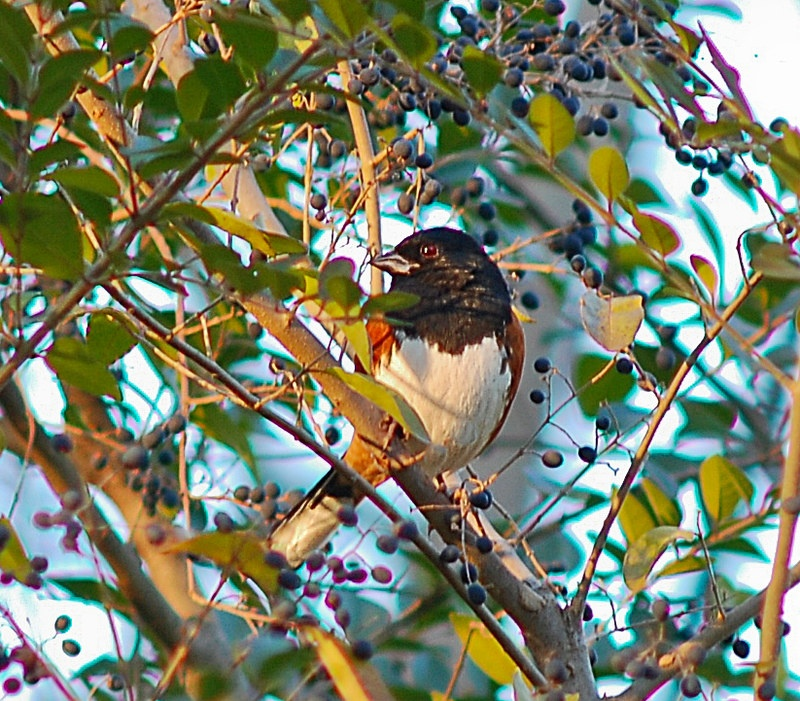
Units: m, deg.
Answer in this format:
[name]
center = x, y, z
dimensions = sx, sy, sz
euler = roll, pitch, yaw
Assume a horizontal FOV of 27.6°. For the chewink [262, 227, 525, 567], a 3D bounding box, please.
[chewink]
center = 0.043, 0.021, 5.352
dimensions = 0.469, 0.871, 1.144
euler = -3, 2, -20
